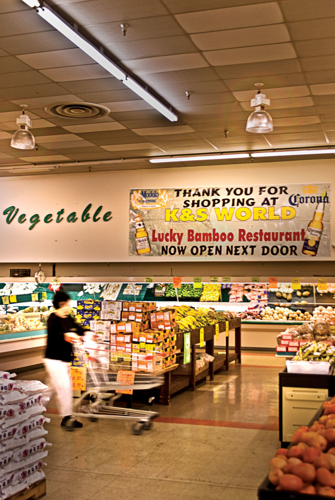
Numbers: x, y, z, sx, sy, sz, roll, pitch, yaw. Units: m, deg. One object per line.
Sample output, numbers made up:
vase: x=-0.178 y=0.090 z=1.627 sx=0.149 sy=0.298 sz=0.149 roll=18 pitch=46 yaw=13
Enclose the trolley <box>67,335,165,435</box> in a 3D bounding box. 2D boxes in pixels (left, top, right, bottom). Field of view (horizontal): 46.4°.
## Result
trolley: x=-0.689 y=1.548 z=4.748 sx=1.379 sy=1.219 sz=0.788 roll=0 pitch=-1 yaw=7
